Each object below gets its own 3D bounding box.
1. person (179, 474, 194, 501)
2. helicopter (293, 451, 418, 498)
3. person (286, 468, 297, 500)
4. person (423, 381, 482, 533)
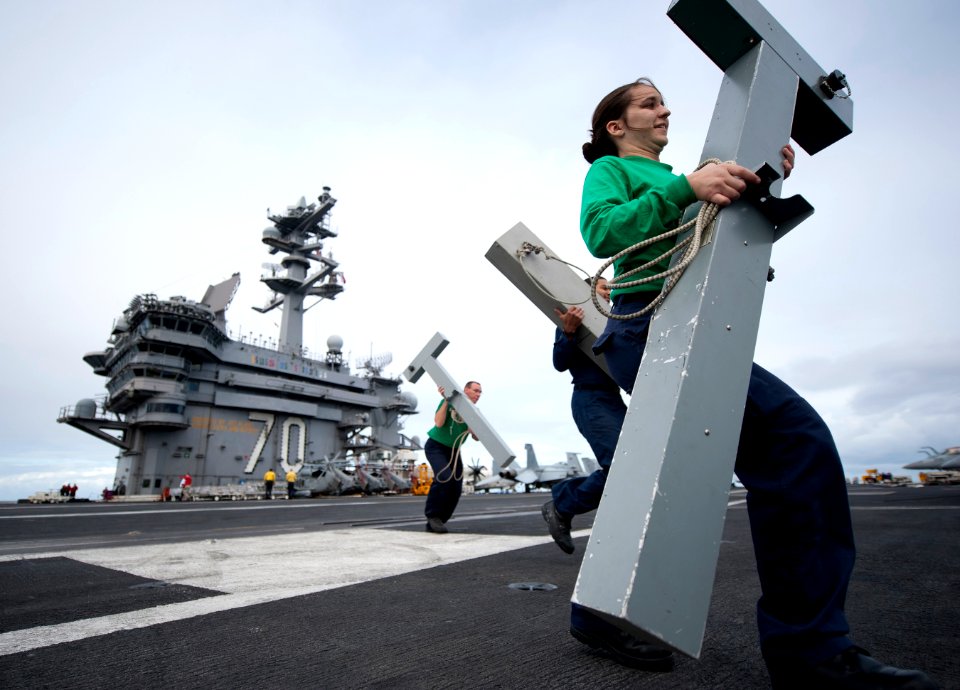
[{"bbox_3d":[-12.258,5.926,23.012,0.510,0.898,1.846,7,-12,-26],"label":"person"},{"bbox_3d":[-5.685,6.488,27.103,3.136,1.835,8.247,-1,-11,12],"label":"helicopter"},{"bbox_3d":[-8.017,5.895,23.453,0.421,1.067,2.106,5,-11,-18],"label":"person"},{"bbox_3d":[-0.426,1.389,6.583,0.534,1.563,0.737,-2,-11,18],"label":"person"}]
